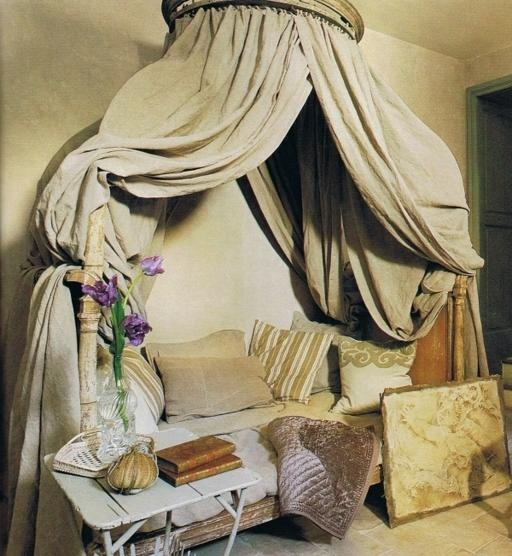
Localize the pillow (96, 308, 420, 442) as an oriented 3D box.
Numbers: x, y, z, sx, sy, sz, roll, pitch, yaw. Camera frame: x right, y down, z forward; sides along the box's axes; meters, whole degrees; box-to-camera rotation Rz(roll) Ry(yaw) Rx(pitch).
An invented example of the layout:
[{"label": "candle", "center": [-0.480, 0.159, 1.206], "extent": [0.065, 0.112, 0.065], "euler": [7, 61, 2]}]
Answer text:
[{"label": "pillow", "center": [0.135, 0.506, 4.130], "extent": [0.685, 0.584, 1.018], "euler": [2, -4, -20]}]

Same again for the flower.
[{"label": "flower", "center": [-0.501, 0.208, 3.017], "extent": [0.330, 0.573, 0.249], "euler": [-4, 13, -23]}]
